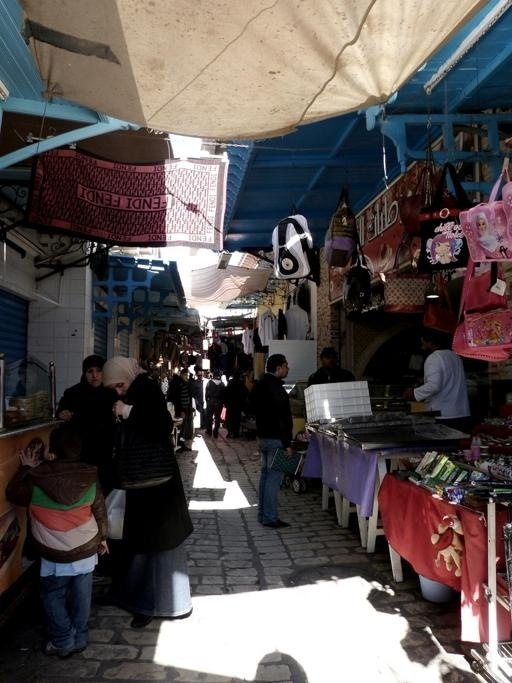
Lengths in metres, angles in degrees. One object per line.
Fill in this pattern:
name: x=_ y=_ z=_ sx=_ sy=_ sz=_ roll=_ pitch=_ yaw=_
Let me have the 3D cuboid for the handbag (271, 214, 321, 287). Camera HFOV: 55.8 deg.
handbag: x=0.496 y=-1.179 z=6.540 sx=0.646 sy=0.833 sz=0.872 roll=-1 pitch=-11 yaw=1

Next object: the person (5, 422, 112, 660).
person: x=-1.216 y=1.186 z=2.924 sx=0.585 sy=1.301 sz=0.380 roll=2 pitch=-8 yaw=-16

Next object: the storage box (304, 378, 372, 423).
storage box: x=0.990 y=0.751 z=6.020 sx=0.618 sy=0.390 sz=0.605 roll=1 pitch=-11 yaw=-22

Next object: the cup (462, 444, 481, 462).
cup: x=1.427 y=0.738 z=3.189 sx=0.083 sy=0.085 sz=0.099 roll=2 pitch=-13 yaw=-4

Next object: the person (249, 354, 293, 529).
person: x=0.194 y=1.188 z=5.994 sx=0.487 sy=2.073 sz=0.448 roll=0 pitch=-7 yaw=0

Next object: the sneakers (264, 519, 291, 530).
sneakers: x=0.245 y=2.177 z=5.797 sx=0.301 sy=0.117 sz=0.107 roll=-2 pitch=-4 yaw=4

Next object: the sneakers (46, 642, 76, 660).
sneakers: x=-1.163 y=1.803 z=2.820 sx=0.202 sy=0.090 sz=0.073 roll=-3 pitch=-4 yaw=18

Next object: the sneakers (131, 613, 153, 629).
sneakers: x=-0.777 y=1.892 z=3.282 sx=0.144 sy=0.056 sz=0.128 roll=2 pitch=-7 yaw=-14

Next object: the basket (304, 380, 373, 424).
basket: x=1.044 y=0.741 z=6.010 sx=0.622 sy=0.393 sz=0.608 roll=1 pitch=-11 yaw=-23

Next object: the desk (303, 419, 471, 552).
desk: x=1.344 y=1.481 z=5.338 sx=1.443 sy=0.931 sz=1.896 roll=2 pitch=-2 yaw=-6
